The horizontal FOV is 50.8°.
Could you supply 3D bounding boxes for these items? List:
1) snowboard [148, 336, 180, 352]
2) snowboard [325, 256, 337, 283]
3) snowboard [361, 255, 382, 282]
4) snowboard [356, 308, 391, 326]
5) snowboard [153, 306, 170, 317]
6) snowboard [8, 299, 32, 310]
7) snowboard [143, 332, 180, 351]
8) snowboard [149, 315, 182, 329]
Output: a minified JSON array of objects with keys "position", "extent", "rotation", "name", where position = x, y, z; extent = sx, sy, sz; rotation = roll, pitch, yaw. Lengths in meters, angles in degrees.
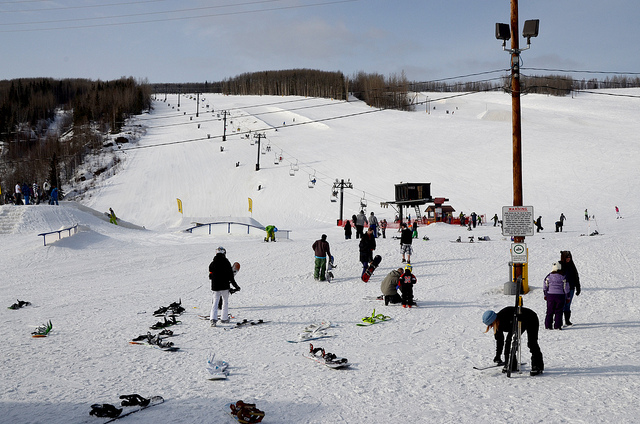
[{"position":[-6.240,5.329,26.980],"extent":[1.238,0.489,0.439],"rotation":[11,0,21],"name":"snowboard"},{"position":[0.511,2.963,33.899],"extent":[0.538,0.945,0.465],"rotation":[9,-11,-11],"name":"snowboard"},{"position":[2.576,2.777,33.988],"extent":[0.526,1.891,0.248],"rotation":[34,-19,-3],"name":"snowboard"},{"position":[2.275,4.427,28.698],"extent":[1.610,0.403,0.514],"rotation":[-10,16,-29],"name":"snowboard"},{"position":[-7.027,4.352,29.766],"extent":[0.623,0.303,0.244],"rotation":[1,-3,20],"name":"snowboard"},{"position":[-13.910,4.223,31.154],"extent":[0.969,0.235,0.522],"rotation":[-12,18,-36],"name":"snowboard"},{"position":[-6.303,5.169,27.053],"extent":[1.737,0.684,0.539],"rotation":[-1,-5,35],"name":"snowboard"},{"position":[-6.600,4.640,28.596],"extent":[1.342,0.636,0.446],"rotation":[-1,-7,-15],"name":"snowboard"}]
